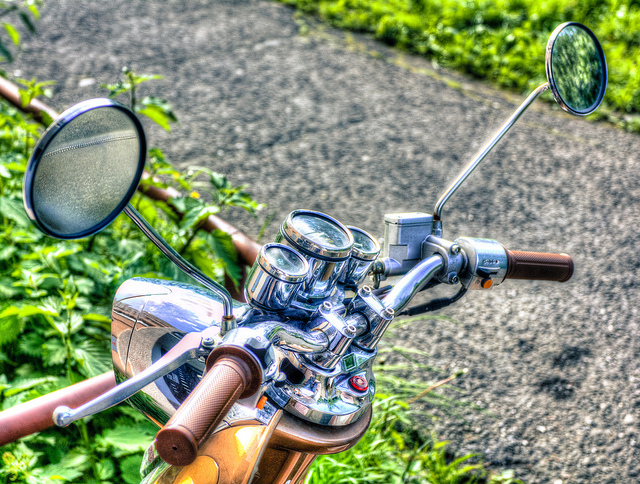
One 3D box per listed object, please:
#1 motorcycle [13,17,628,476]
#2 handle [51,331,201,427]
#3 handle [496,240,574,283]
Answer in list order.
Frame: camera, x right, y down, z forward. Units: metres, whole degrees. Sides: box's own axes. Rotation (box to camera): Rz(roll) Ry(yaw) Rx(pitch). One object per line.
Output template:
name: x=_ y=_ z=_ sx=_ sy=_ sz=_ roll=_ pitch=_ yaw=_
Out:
motorcycle: x=0.041 y=0.028 z=4.012 sx=2.021 sy=1.442 sz=2.435 roll=-1 pitch=42 yaw=-47
handle: x=-0.618 y=0.468 z=2.531 sx=0.595 sy=0.078 sz=0.113 roll=-26 pitch=45 yaw=-27
handle: x=0.886 y=0.092 z=3.013 sx=0.363 sy=0.120 sz=0.125 roll=4 pitch=89 yaw=-28
